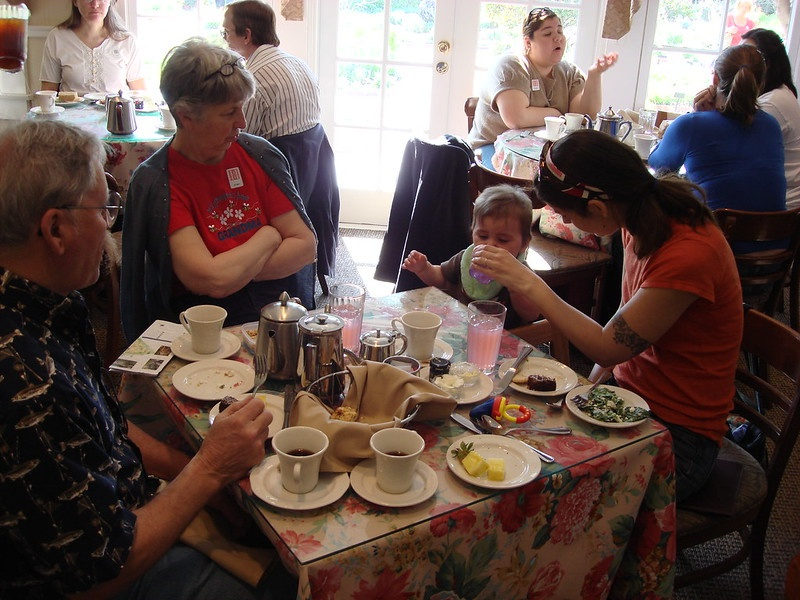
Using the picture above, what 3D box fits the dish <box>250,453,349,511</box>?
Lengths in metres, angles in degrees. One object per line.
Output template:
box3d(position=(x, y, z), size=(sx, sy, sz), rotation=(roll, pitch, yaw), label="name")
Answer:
box3d(position=(-0.212, 0.376, 1.138), size=(0.209, 0.029, 0.126), rotation=(9, 19, 20), label="dish")

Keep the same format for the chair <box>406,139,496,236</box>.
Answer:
box3d(position=(0.204, -0.567, 3.063), size=(0.467, 0.578, 0.484), rotation=(6, 17, -7), label="chair")

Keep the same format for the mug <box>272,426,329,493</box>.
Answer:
box3d(position=(-0.201, 0.334, 1.122), size=(0.101, 0.102, 0.121), rotation=(5, 19, -2), label="mug")

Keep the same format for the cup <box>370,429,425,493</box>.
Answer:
box3d(position=(-0.009, 0.320, 1.127), size=(0.103, 0.090, 0.116), rotation=(0, 37, -6), label="cup")

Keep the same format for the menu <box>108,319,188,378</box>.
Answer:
box3d(position=(-0.673, 0.141, 1.519), size=(0.124, 0.016, 0.193), rotation=(10, 34, 9), label="menu")

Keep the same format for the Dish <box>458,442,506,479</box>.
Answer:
box3d(position=(0.162, 0.336, 1.184), size=(0.071, 0.027, 0.059), rotation=(5, 25, 3), label="Dish")

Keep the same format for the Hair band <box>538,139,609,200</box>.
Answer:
box3d(position=(0.481, -0.327, 1.586), size=(0.183, 0.052, 0.147), rotation=(25, 15, -23), label="Hair band")

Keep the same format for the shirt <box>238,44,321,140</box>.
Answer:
box3d(position=(-0.635, -1.104, 3.044), size=(0.383, 0.486, 0.257), rotation=(-1, 17, -10), label="shirt")

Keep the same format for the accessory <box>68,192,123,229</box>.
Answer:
box3d(position=(-0.624, -0.180, 1.148), size=(0.093, 0.034, 0.092), rotation=(-10, 18, 4), label="accessory")

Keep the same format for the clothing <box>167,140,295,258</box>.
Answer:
box3d(position=(-0.651, -0.386, 2.101), size=(0.460, 0.440, 0.256), rotation=(-18, 47, -13), label="clothing")

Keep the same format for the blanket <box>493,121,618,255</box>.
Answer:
box3d(position=(0.748, -0.667, 3.230), size=(0.699, 0.685, 0.742), rotation=(3, 57, 2), label="blanket")

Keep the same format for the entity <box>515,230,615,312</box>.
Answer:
box3d(position=(0.881, -0.100, 2.979), size=(0.349, 0.348, 0.317), rotation=(14, 17, 13), label="entity")

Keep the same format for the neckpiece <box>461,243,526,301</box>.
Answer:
box3d(position=(0.317, -0.140, 2.243), size=(0.194, 0.268, 0.062), rotation=(10, -1, 27), label="neckpiece")

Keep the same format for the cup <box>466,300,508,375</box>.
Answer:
box3d(position=(0.228, 0.125, 1.565), size=(0.117, 0.200, 0.118), rotation=(0, 4, 0), label="cup")
